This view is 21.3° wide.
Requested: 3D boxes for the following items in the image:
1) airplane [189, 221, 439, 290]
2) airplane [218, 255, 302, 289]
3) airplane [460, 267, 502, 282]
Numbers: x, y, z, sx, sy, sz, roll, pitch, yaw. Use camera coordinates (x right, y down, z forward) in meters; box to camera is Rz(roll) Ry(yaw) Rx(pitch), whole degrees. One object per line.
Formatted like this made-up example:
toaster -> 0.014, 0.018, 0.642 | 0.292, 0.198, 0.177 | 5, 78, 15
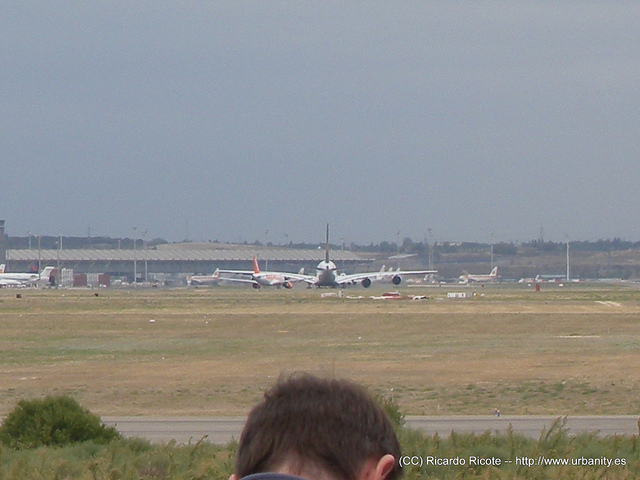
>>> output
airplane -> -5.514, 3.492, 253.041 | 40.866, 12.148, 41.681 | -2, 1, 23
airplane -> -6.202, 4.554, 247.296 | 9.901, 3.075, 7.860 | 15, 4, 35
airplane -> 31.810, 6.269, 324.642 | 6.281, 2.845, 26.894 | -1, -6, 8
